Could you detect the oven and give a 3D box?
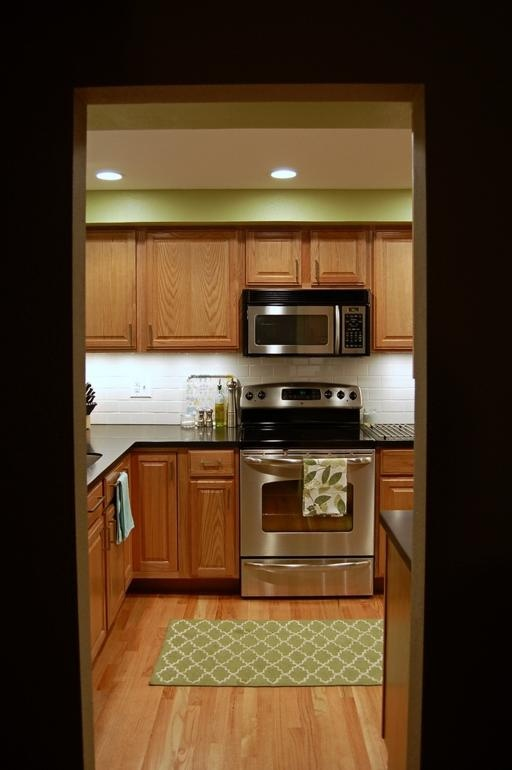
[{"bbox_3d":[0.254,0.596,3.162,0.645,0.992,0.647,0,0,1],"label":"oven"}]

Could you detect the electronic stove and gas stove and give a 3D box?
[{"bbox_3d":[0.247,0.123,3.179,0.697,0.251,0.645,0,4,5],"label":"electronic stove and gas stove"}]

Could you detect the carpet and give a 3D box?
[{"bbox_3d":[0.076,1.070,2.360,0.921,0.017,0.499,0,4,0],"label":"carpet"}]

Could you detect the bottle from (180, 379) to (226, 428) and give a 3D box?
[{"bbox_3d":[-0.298,0.088,3.358,0.264,0.281,0.276,0,3,-5],"label":"bottle"}]

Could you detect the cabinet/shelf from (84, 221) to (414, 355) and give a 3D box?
[{"bbox_3d":[-0.098,-0.530,3.300,1.606,0.807,0.334,2,16,-9],"label":"cabinet/shelf"}]
